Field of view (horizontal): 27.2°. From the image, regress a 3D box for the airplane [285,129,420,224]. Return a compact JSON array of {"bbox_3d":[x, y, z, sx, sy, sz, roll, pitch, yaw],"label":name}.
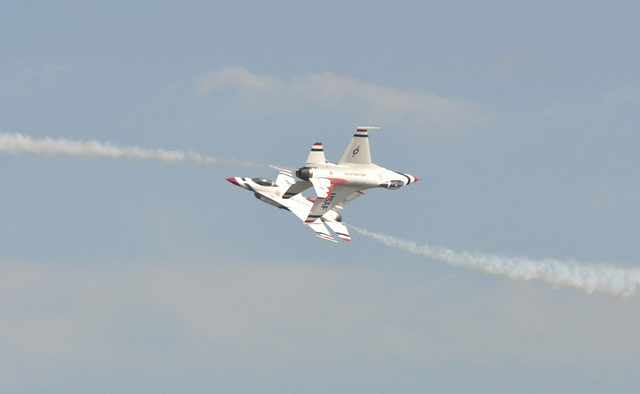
[{"bbox_3d":[1.293,-2.502,89.007,6.164,6.679,13.326,0,-2,-29],"label":"airplane"}]
